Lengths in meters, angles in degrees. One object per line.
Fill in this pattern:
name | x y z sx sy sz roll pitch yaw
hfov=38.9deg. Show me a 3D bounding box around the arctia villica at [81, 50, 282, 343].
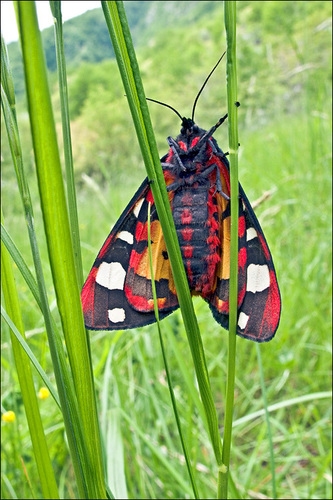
arctia villica | 0.037 -0.127 0.903 0.381 0.160 0.566 -3 60 26
